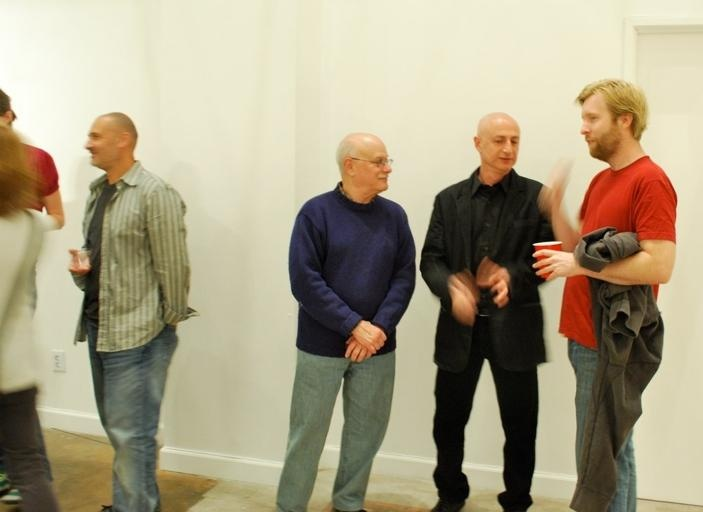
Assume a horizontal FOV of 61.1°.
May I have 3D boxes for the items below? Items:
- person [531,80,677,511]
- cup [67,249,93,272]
[{"bbox_3d":[1.073,0.170,2.594,0.585,1.849,0.459,6,7,42],"label":"person"},{"bbox_3d":[-1.311,0.016,2.903,0.106,0.122,0.109,0,9,0],"label":"cup"}]
